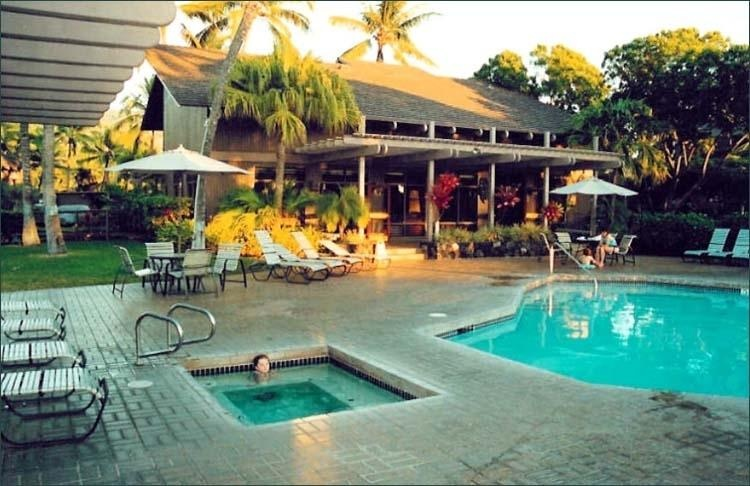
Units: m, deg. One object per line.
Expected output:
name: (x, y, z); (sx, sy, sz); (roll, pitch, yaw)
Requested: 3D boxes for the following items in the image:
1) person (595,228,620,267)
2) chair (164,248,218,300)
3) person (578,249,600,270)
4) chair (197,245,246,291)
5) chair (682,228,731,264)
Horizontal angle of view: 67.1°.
person: (8.038, 0.204, 19.534); (0.720, 1.158, 1.697); (5, 10, 23)
chair: (-4.263, 0.609, 13.016); (1.063, 1.112, 0.775); (17, 13, 42)
person: (6.844, 0.552, 18.112); (0.721, 0.397, 0.926); (1, -21, 35)
chair: (-3.862, 0.678, 14.323); (0.931, 1.182, 1.236); (-28, 15, -37)
chair: (11.809, 0.122, 19.857); (1.647, 1.076, 0.613); (-9, 14, -36)
